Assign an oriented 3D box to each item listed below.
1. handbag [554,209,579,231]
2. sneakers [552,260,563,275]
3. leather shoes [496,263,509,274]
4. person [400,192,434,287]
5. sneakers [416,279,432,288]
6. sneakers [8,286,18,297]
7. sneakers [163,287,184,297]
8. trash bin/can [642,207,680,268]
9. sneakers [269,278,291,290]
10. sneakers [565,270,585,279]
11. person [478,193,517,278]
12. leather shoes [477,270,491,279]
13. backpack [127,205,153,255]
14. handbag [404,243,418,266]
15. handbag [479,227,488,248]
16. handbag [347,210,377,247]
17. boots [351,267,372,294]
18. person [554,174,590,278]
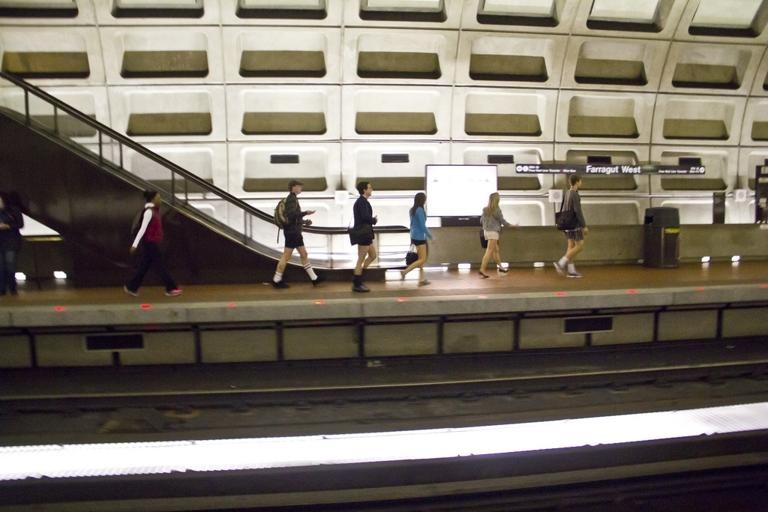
[{"bbox_3d":[4.234,-0.835,15.443,0.499,0.486,0.215,7,12,38],"label":"handbag"},{"bbox_3d":[4.167,0.225,15.983,0.142,0.123,0.366,-25,40,-7],"label":"sneakers"},{"bbox_3d":[2.868,0.293,16.307,0.177,0.236,0.590,3,10,22],"label":"leather shoes"},{"bbox_3d":[0.734,-0.438,15.422,0.600,2.078,1.561,0,4,1],"label":"person"},{"bbox_3d":[0.901,0.625,15.053,0.301,0.253,0.115,-8,11,-25],"label":"sneakers"},{"bbox_3d":[-7.782,0.733,13.980,0.125,0.163,0.247,-2,5,-27],"label":"sneakers"},{"bbox_3d":[-4.428,0.753,13.997,0.348,0.157,0.150,3,4,12],"label":"sneakers"},{"bbox_3d":[7.064,-0.483,17.031,0.824,1.497,0.457,1,4,21],"label":"trash bin/can"},{"bbox_3d":[-2.285,0.629,14.614,0.443,0.179,0.174,0,6,-13],"label":"sneakers"},{"bbox_3d":[4.503,0.452,15.786,0.441,0.285,0.157,0,4,-2],"label":"sneakers"},{"bbox_3d":[2.615,-0.520,15.971,0.663,2.016,0.865,0,4,11],"label":"person"},{"bbox_3d":[2.383,0.433,15.892,0.364,0.164,0.118,4,6,-39],"label":"leather shoes"},{"bbox_3d":[-4.953,-0.557,13.614,0.210,0.834,0.588,11,11,-28],"label":"backpack"},{"bbox_3d":[0.620,-0.027,15.422,0.248,0.635,0.456,0,9,-12],"label":"handbag"},{"bbox_3d":[2.388,-0.465,16.108,0.256,0.474,0.278,-10,37,2],"label":"handbag"},{"bbox_3d":[-0.485,-0.447,14.212,0.663,0.638,0.431,-1,4,-4],"label":"handbag"},{"bbox_3d":[-0.579,0.569,14.449,0.537,0.518,0.281,-1,5,-11],"label":"boots"},{"bbox_3d":[4.350,-0.695,15.522,0.671,2.396,0.740,1,4,14],"label":"person"}]
